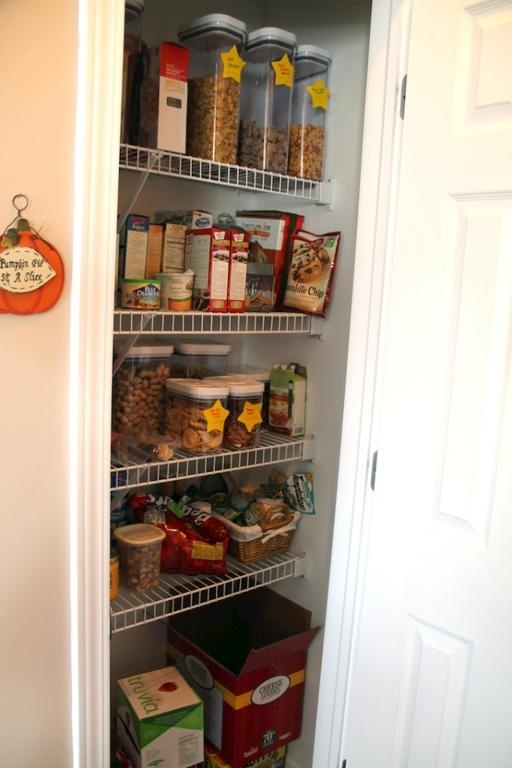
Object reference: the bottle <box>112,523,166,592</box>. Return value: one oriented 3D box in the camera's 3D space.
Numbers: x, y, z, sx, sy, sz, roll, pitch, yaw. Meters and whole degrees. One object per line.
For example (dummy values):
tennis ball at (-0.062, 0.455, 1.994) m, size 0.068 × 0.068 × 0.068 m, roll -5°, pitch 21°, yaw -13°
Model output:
bottle at (-0.268, 0.383, 1.421) m, size 0.094 × 0.152 × 0.099 m, roll 3°, pitch 5°, yaw 0°

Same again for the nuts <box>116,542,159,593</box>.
nuts at (-0.268, 0.417, 1.434) m, size 0.100 × 0.112 × 0.110 m, roll -3°, pitch 10°, yaw -40°
